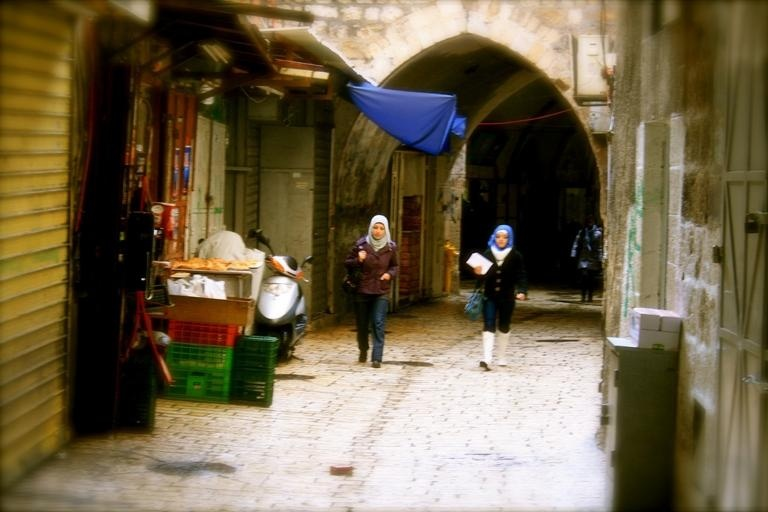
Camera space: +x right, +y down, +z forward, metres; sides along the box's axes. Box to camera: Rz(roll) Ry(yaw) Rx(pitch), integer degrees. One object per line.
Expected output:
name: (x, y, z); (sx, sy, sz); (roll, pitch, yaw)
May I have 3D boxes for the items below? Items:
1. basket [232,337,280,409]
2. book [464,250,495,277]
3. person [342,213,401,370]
basket: (-1.683, 1.479, 8.020); (0.579, 0.893, 0.206); (2, 2, -11)
book: (1.611, 0.140, 10.424); (0.405, 0.359, 0.281); (2, 2, 4)
person: (-0.245, 0.577, 10.631); (0.881, 2.537, 0.549); (2, 2, -1)
